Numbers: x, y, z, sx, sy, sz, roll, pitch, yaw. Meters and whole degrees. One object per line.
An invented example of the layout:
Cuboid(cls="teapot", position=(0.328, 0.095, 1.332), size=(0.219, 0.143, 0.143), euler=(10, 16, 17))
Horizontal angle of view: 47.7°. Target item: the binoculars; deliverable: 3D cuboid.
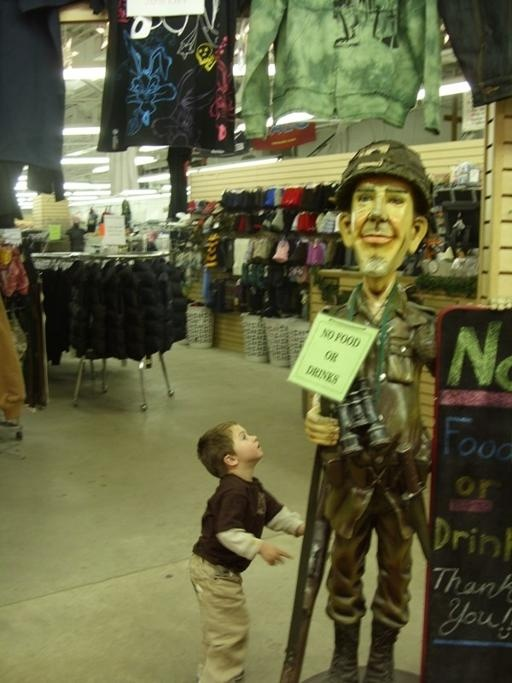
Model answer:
Cuboid(cls="binoculars", position=(0.205, 0.137, 1.098), size=(0.095, 0.145, 0.057), euler=(-3, -26, -1))
